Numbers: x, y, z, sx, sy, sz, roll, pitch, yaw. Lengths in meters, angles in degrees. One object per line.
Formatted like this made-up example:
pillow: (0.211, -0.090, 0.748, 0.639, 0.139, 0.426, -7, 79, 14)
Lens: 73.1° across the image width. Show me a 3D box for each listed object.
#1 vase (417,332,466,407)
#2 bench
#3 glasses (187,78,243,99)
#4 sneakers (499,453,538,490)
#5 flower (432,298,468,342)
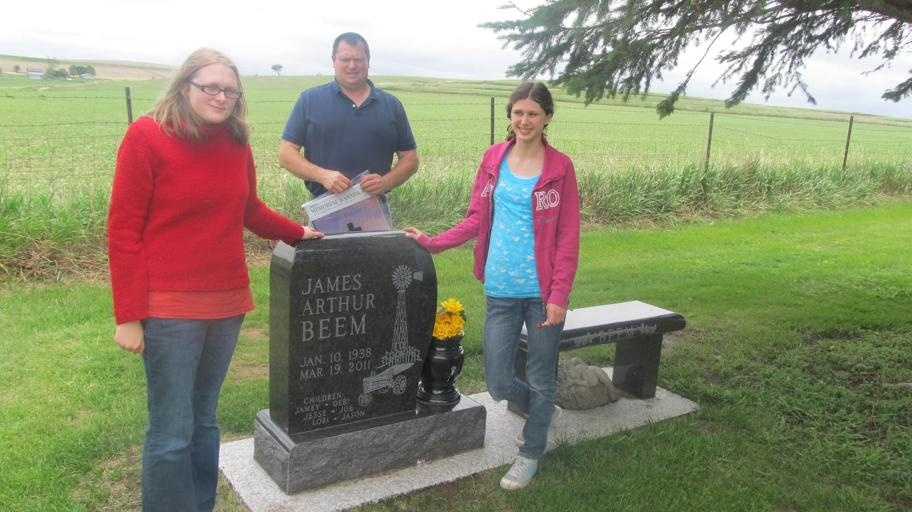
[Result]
vase: (-0.164, 1.235, 6.575, 0.730, 0.732, 0.698, 2, -3, -2)
bench: (1.556, 1.187, 7.181, 2.206, 0.886, 0.790, 0, 2, -27)
glasses: (-1.972, -1.361, 5.031, 0.387, 0.136, 0.091, -3, 15, -17)
sneakers: (0.602, 2.131, 6.058, 0.198, 0.177, 0.501, 15, 14, 34)
flower: (-0.096, 0.671, 6.499, 0.426, 0.368, 0.180, 21, -9, -10)
